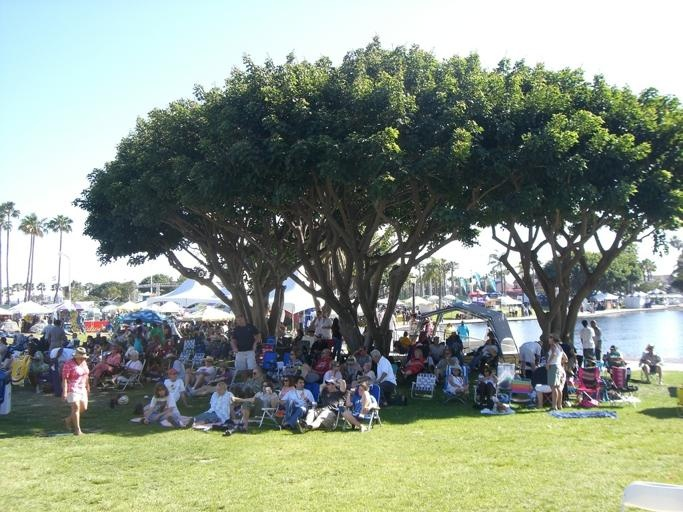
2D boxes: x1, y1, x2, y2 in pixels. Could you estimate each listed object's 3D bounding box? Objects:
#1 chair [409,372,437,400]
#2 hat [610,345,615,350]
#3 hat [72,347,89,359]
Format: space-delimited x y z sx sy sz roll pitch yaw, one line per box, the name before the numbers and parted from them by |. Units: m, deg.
chair | 2.734 4.324 20.614 0.650 0.545 0.837 -4 10 20
hat | 9.968 3.388 22.724 0.190 0.228 0.521 -7 -11 22
hat | -6.828 2.468 16.140 0.364 0.152 0.328 26 1 6
